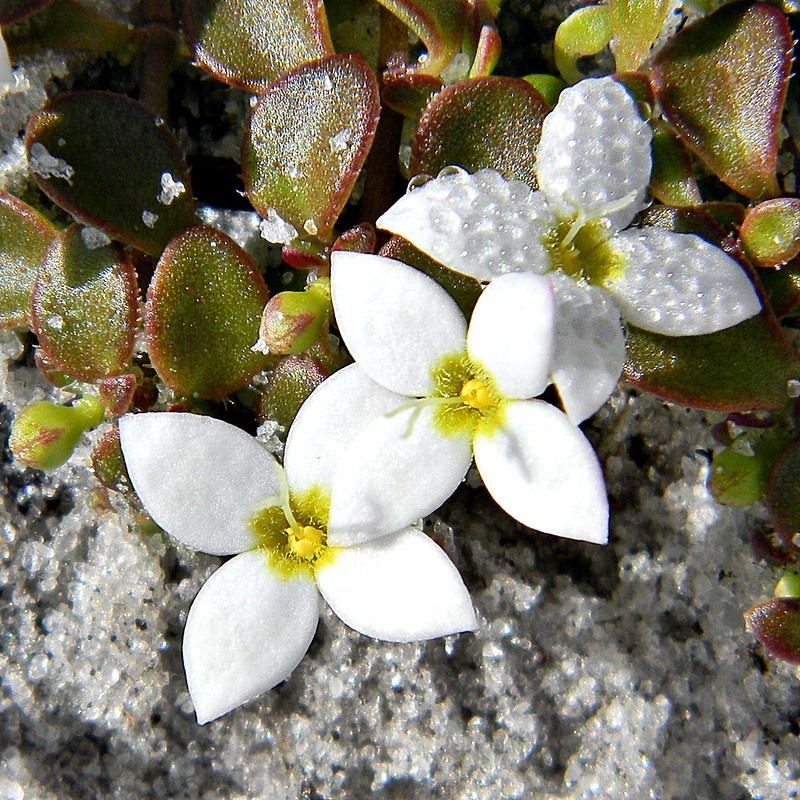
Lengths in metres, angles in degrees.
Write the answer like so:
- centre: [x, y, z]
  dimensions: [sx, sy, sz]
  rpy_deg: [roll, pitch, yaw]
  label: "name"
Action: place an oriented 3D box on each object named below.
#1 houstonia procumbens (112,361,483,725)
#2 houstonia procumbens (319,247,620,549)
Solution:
- centre: [-0.170, 0.188, 1.466]
  dimensions: [0.433, 0.153, 0.476]
  rpy_deg: [26, 82, -12]
  label: "houstonia procumbens"
- centre: [0.080, -0.004, 1.352]
  dimensions: [0.348, 0.137, 0.363]
  rpy_deg: [0, 83, 1]
  label: "houstonia procumbens"
